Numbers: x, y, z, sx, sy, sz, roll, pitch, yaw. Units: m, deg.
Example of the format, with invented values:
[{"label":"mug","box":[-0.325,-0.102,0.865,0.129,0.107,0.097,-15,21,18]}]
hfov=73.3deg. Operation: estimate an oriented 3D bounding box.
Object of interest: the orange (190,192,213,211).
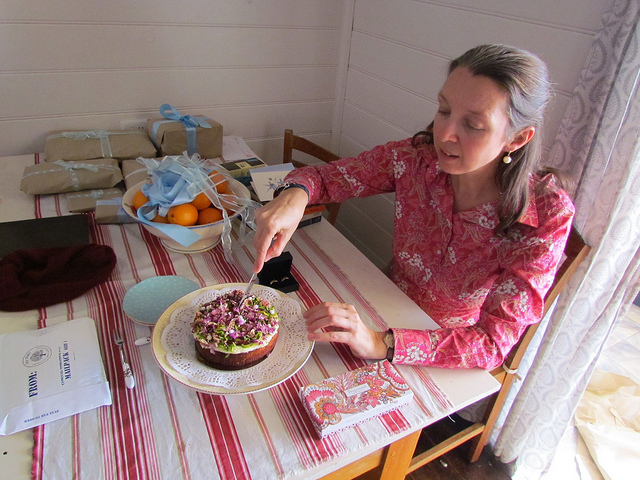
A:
[{"label":"orange","box":[-0.378,-0.122,1.373,0.047,0.058,0.048,28,8,-8]}]

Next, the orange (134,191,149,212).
[{"label":"orange","box":[-0.577,-0.130,1.409,0.054,0.066,0.052,15,4,-37]}]

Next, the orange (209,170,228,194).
[{"label":"orange","box":[-0.339,-0.189,1.421,0.053,0.066,0.033,-22,-5,-15]}]

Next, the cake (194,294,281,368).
[{"label":"cake","box":[-0.212,0.218,1.097,0.201,0.107,0.175,6,32,6]}]

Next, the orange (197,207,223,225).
[{"label":"orange","box":[-0.352,-0.077,1.375,0.054,0.059,0.065,16,18,13]}]
